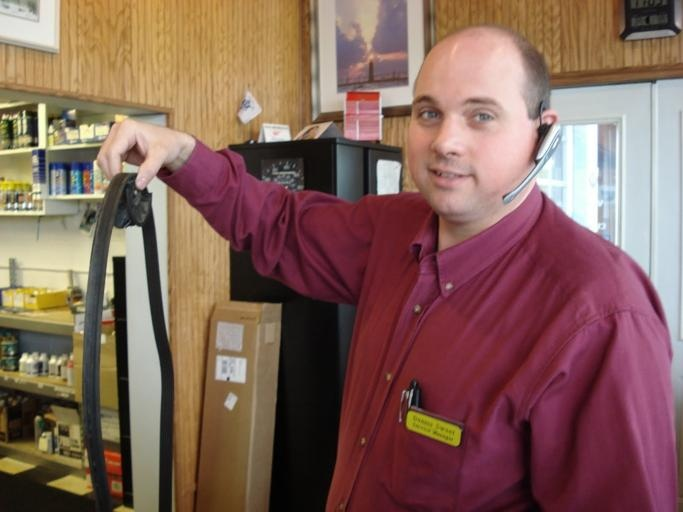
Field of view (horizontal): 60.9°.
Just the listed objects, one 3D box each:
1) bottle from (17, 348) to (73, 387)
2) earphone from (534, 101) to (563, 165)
[{"bbox_3d":[-2.073,0.762,4.100,0.762,0.180,0.169,4,3,36],"label":"bottle"},{"bbox_3d":[0.436,-0.258,1.233,0.032,0.141,0.054,8,14,28],"label":"earphone"}]
